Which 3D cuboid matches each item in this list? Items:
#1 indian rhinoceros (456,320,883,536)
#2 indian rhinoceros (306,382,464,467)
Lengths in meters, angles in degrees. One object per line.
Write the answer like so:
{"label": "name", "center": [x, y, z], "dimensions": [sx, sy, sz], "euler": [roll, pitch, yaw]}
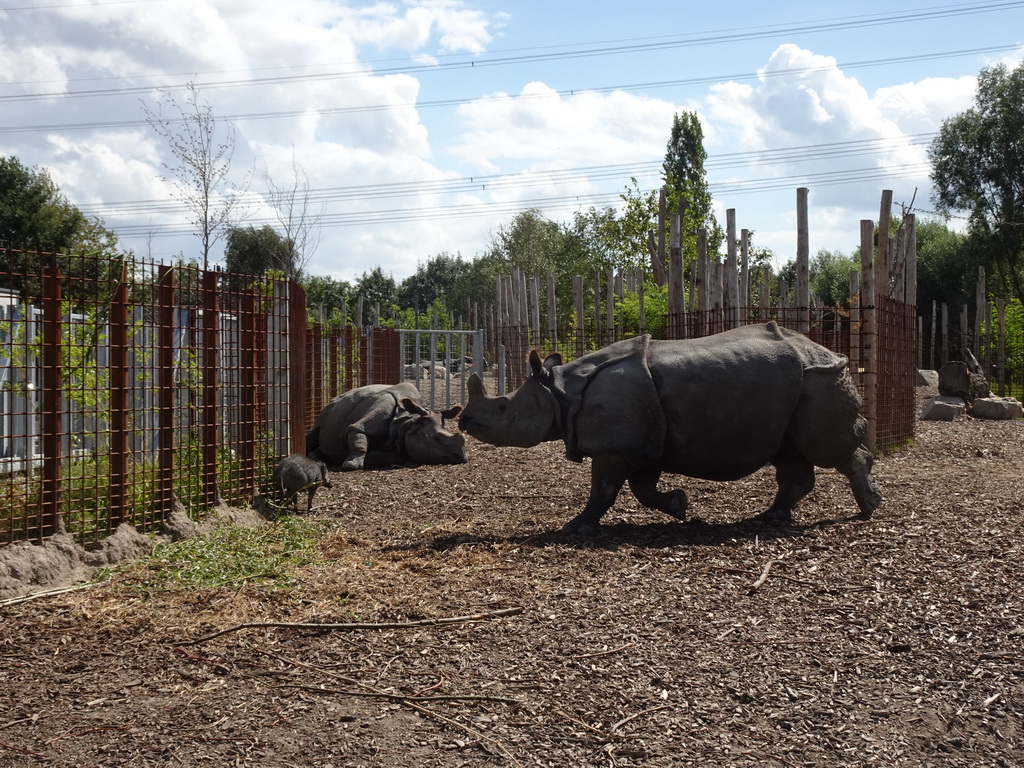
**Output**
{"label": "indian rhinoceros", "center": [1.465, 0.425, 9.918], "dimensions": [3.683, 2.080, 1.401], "euler": [0, -2, 6]}
{"label": "indian rhinoceros", "center": [-1.778, 0.605, 14.065], "dimensions": [1.743, 0.855, 1.219], "euler": [2, -6, 40]}
